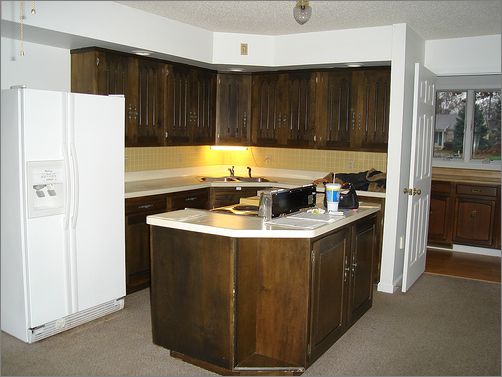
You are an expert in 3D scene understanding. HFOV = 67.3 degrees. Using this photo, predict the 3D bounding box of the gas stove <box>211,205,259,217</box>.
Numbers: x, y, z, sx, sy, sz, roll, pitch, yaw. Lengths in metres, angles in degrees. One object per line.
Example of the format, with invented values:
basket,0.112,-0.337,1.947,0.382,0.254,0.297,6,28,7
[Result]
gas stove,-0.136,0.193,3.432,0.389,0.035,0.460,1,9,2

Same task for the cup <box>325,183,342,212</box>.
cup,0.737,0.084,3.409,0.140,0.248,0.239,2,9,11

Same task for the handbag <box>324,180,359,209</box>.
handbag,0.861,0.049,3.539,0.269,0.261,0.152,0,27,13

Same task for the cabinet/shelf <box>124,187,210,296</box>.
cabinet/shelf,-0.877,0.632,4.298,1.236,1.099,0.445,-13,-23,24

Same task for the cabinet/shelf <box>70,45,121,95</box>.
cabinet/shelf,-1.754,-1.179,4.248,0.327,0.684,0.408,-3,-1,11

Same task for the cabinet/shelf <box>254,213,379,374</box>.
cabinet/shelf,0.483,0.844,2.987,0.379,0.712,1.138,2,6,29
